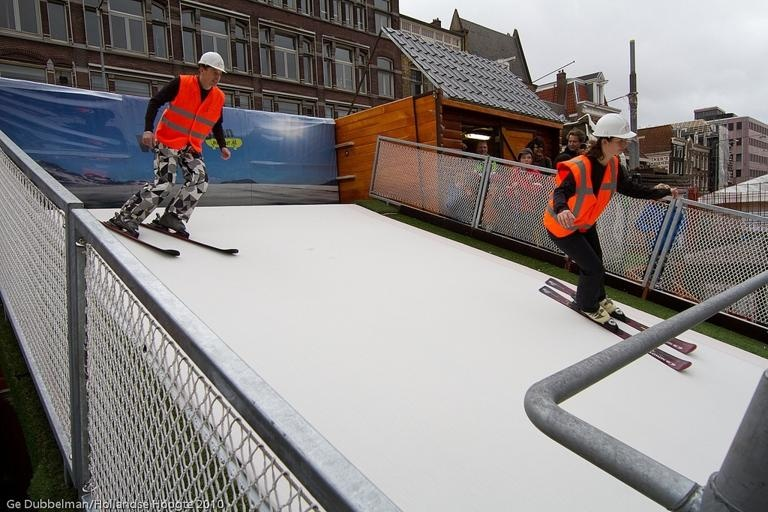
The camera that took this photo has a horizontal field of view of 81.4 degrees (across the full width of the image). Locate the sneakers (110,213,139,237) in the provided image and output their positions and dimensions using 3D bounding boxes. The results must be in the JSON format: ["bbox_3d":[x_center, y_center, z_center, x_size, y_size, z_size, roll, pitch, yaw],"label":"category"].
[{"bbox_3d":[-3.324,-0.411,5.738,0.443,0.292,0.176,11,21,22],"label":"sneakers"}]

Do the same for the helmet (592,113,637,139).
[{"bbox_3d":[2.442,-1.370,4.724,0.302,0.246,0.433,-15,26,-40],"label":"helmet"}]

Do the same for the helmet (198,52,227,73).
[{"bbox_3d":[-2.231,-2.527,5.773,0.259,0.249,0.666,-3,20,-17],"label":"helmet"}]
